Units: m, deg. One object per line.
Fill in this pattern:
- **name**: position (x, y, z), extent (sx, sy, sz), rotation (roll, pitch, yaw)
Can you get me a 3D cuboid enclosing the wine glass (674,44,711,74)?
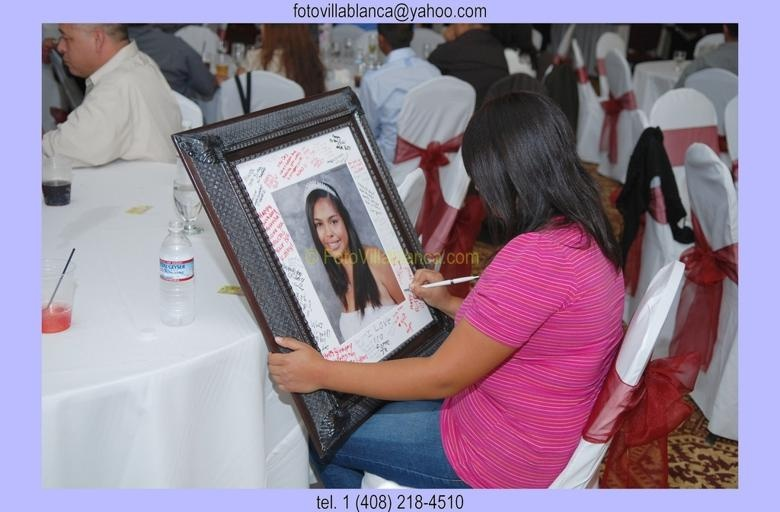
- **wine glass**: position (1.649, -1.076, 3.164), extent (0.122, 0.151, 0.114), rotation (10, 27, 27)
